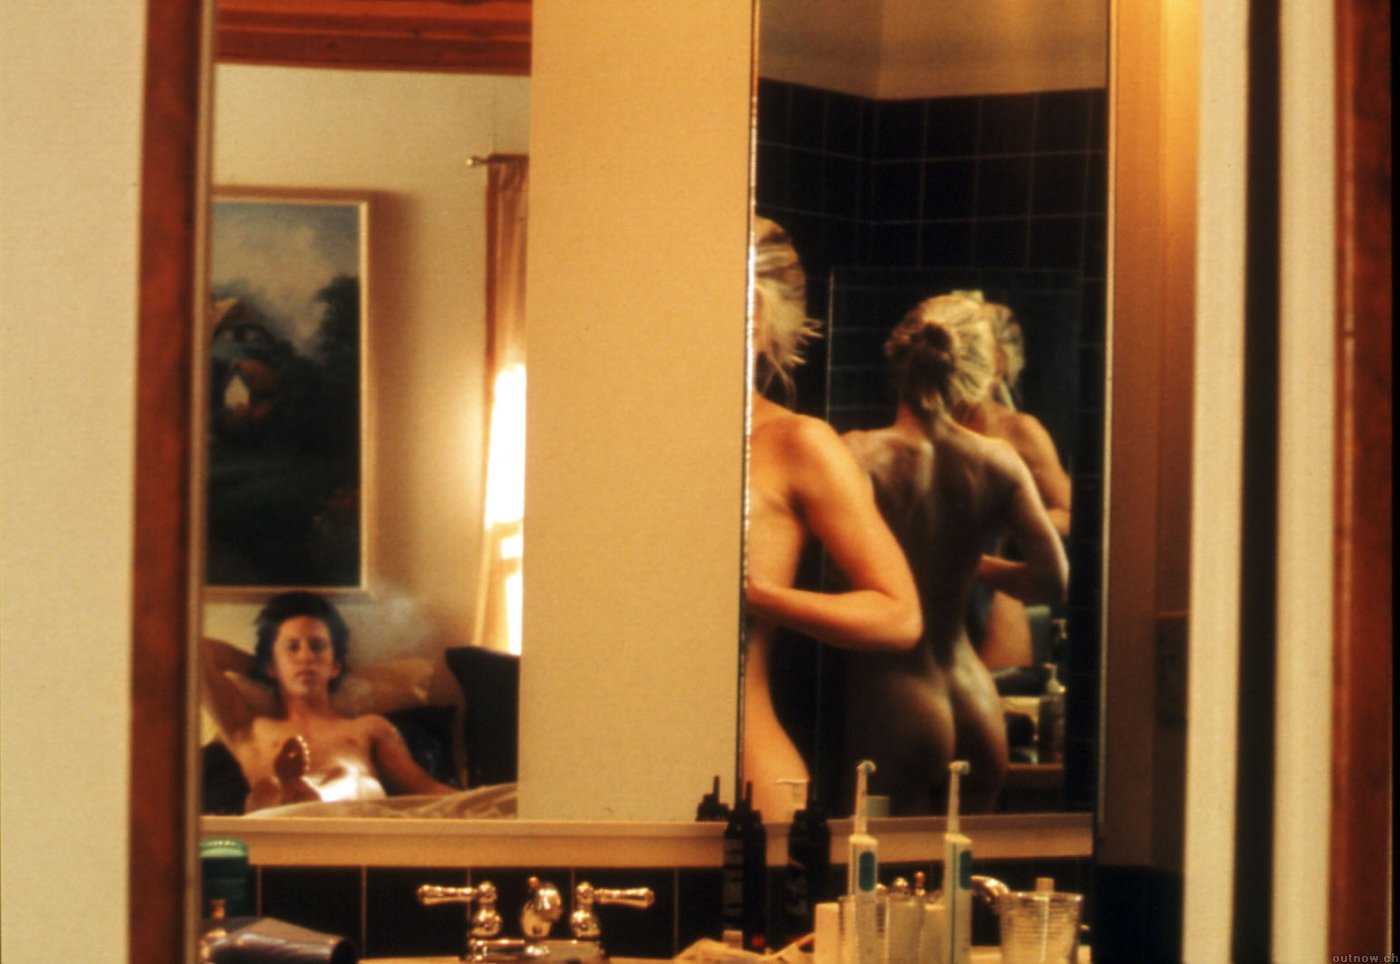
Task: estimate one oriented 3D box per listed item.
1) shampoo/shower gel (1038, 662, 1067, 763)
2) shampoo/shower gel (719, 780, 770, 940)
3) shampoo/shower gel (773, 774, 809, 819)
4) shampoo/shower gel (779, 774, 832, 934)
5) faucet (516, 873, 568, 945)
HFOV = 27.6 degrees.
[{"bbox_3d":[0.524,0.343,4.262,0.040,0.147,0.016,0,-2,1],"label":"shampoo/shower gel"},{"bbox_3d":[0.062,0.570,4.168,0.058,0.207,0.064,0,-2,0],"label":"shampoo/shower gel"},{"bbox_3d":[0.134,0.460,4.226,0.058,0.073,0.049,1,-7,6],"label":"shampoo/shower gel"},{"bbox_3d":[0.154,0.547,4.194,0.065,0.218,0.056,0,-2,3],"label":"shampoo/shower gel"},{"bbox_3d":[-0.230,0.616,4.133,0.063,0.089,0.116,0,-2,-2],"label":"faucet"}]
